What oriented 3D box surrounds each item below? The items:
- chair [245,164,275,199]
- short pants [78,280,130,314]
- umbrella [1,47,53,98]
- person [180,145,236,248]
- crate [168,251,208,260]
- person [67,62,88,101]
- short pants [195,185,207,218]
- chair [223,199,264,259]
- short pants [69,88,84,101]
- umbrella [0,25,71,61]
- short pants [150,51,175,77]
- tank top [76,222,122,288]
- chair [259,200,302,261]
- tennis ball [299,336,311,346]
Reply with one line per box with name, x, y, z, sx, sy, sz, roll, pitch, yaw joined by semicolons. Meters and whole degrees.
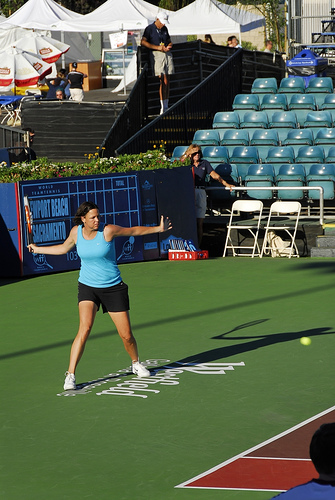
chair;2.046;-1.494;14.234;0.648;0.824;0.802;-1;7;13
short pants;-0.568;0.441;5.676;0.465;0.405;0.261;0;-12;-4
umbrella;-5.284;-6.649;24.224;1.851;1.465;1.764;-14;54;-1
person;0.654;-1.119;12.833;0.561;1.936;0.816;-11;17;-35
crate;0.409;0.107;12.605;0.784;0.179;0.184;-3;14;-11
person;-3.205;-5.792;22.451;0.632;1.524;0.501;17;40;12
short pants;0.645;-0.964;12.774;0.206;0.612;0.212;-1;14;2
chair;1.529;-0.431;12.908;0.744;1.079;0.901;2;9;37
short pants;-3.180;-5.428;22.311;0.430;0.401;0.692;-3;14;-9
umbrella;-5.878;-9.018;27.820;4.044;1.327;3.791;0;20;-4
short pants;-0.148;-4.828;16.558;0.514;0.608;0.396;-2;14;-5
tank top;-0.614;0.041;5.637;0.377;0.554;0.240;-1;14;1
chair;2.281;-0.485;12.986;0.802;1.092;1.641;1;14;9
tennis ball;1.540;0.994;7.140;0.108;0.081;0.081;33;-26;-5
